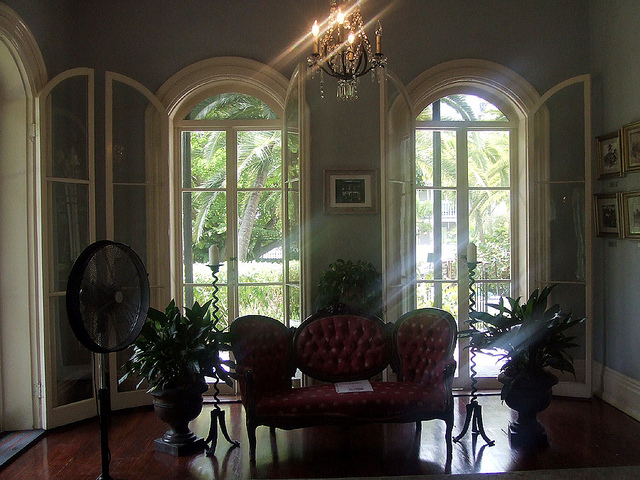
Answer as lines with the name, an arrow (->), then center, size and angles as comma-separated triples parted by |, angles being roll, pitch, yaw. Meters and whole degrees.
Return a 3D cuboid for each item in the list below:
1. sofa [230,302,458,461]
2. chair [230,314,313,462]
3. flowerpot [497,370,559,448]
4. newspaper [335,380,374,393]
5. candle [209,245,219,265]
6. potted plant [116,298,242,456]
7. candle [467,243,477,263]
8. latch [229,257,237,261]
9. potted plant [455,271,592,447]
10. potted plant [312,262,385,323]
sofa -> 0.226, 1.164, 4.412 | 1.883, 1.077, 0.783 | -1, 5, -1
chair -> -0.365, 1.180, 4.294 | 0.755, 1.134, 0.785 | -4, -6, 8
flowerpot -> 1.785, 1.460, 4.601 | 0.471, 0.640, 0.505 | -1, -4, 1
newspaper -> 0.278, 1.227, 4.363 | 0.304, 0.040, 0.310 | -1, 6, -5
candle -> -0.981, 0.149, 4.786 | 0.066, 0.166, 0.074 | 3, 6, 37
potted plant -> -1.122, 1.147, 4.741 | 1.000, 1.406, 1.127 | 1, -6, -3
candle -> 1.359, 0.119, 4.659 | 0.071, 0.163, 0.106 | 1, 5, 16
latch -> -0.936, 0.212, 5.616 | 0.081, 0.038, 0.024 | -4, 6, -28
potted plant -> 1.878, 1.016, 4.539 | 0.937, 1.381, 0.945 | 0, -1, -28
potted plant -> 0.296, 0.468, 5.158 | 0.594, 0.884, 0.547 | 2, -4, -16
